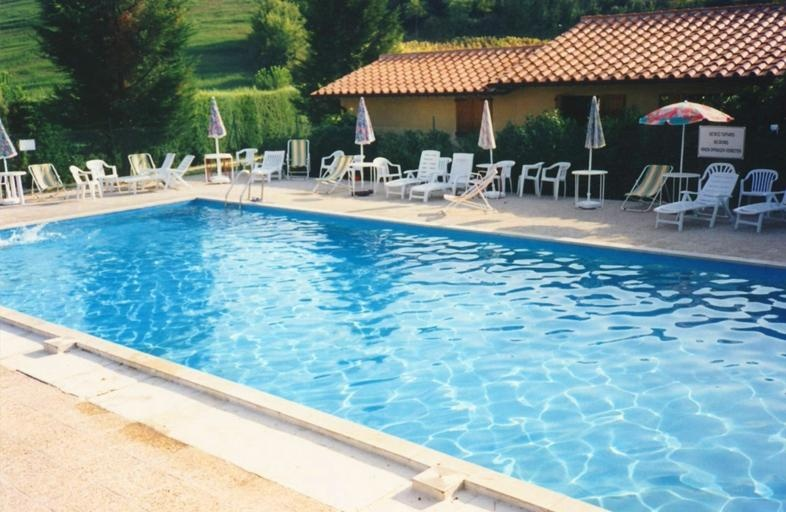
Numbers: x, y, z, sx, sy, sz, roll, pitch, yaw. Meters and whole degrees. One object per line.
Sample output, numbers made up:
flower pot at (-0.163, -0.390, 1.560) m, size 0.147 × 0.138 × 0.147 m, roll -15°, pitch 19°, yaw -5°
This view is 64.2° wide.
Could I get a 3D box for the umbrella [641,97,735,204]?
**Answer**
umbrella at (7.146, -2.767, 15.391) m, size 1.935 × 2.053 × 2.632 m, roll 6°, pitch 13°, yaw 25°
